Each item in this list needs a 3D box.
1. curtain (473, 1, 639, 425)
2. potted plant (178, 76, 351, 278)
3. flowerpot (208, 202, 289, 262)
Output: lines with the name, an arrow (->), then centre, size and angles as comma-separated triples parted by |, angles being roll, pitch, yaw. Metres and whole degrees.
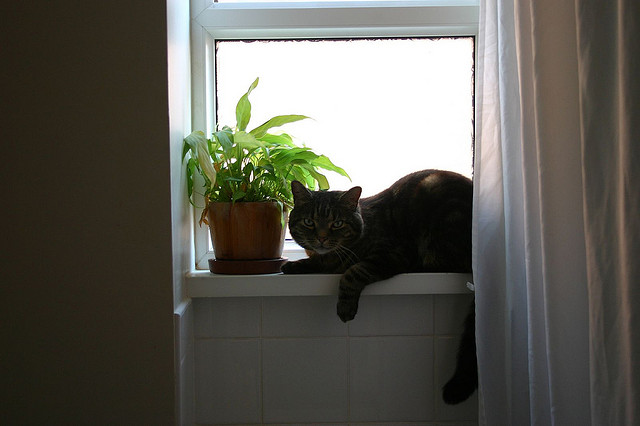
curtain -> 0.586, 0.006, 1.472 | 0.404, 1.148, 0.103 | 1, 1, 44
potted plant -> -0.087, -0.082, 1.899 | 0.556, 0.603, 0.487 | 0, -4, 7
flowerpot -> -0.241, 0.093, 1.810 | 0.282, 0.221, 0.295 | -1, -10, -13
